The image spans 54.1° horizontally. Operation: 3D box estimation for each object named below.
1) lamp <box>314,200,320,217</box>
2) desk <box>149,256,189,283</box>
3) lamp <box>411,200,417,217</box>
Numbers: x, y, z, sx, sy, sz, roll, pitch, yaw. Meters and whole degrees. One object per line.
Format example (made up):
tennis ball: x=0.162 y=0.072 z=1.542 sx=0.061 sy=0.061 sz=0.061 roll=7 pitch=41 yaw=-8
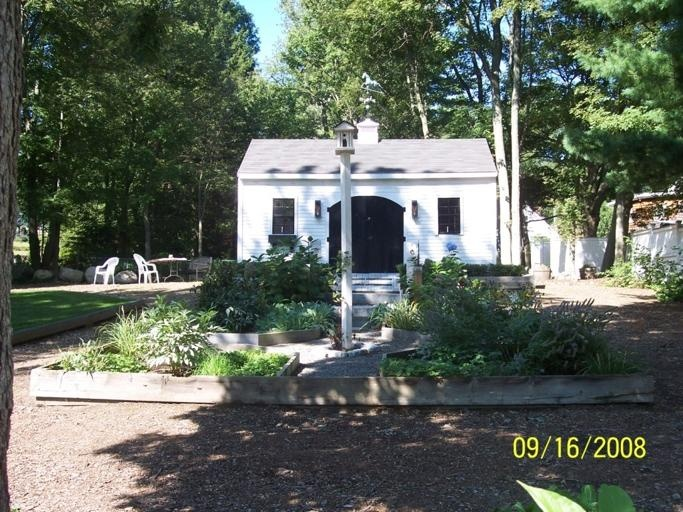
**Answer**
lamp: x=-0.689 y=-1.322 z=18.957 sx=0.218 sy=0.489 sz=0.109 roll=-3 pitch=10 yaw=-5
desk: x=-6.716 y=0.453 z=25.947 sx=1.414 sy=0.644 sz=1.277 roll=1 pitch=-1 yaw=-25
lamp: x=2.066 y=-1.305 z=18.947 sx=0.185 sy=0.528 sz=0.080 roll=-7 pitch=11 yaw=-26
